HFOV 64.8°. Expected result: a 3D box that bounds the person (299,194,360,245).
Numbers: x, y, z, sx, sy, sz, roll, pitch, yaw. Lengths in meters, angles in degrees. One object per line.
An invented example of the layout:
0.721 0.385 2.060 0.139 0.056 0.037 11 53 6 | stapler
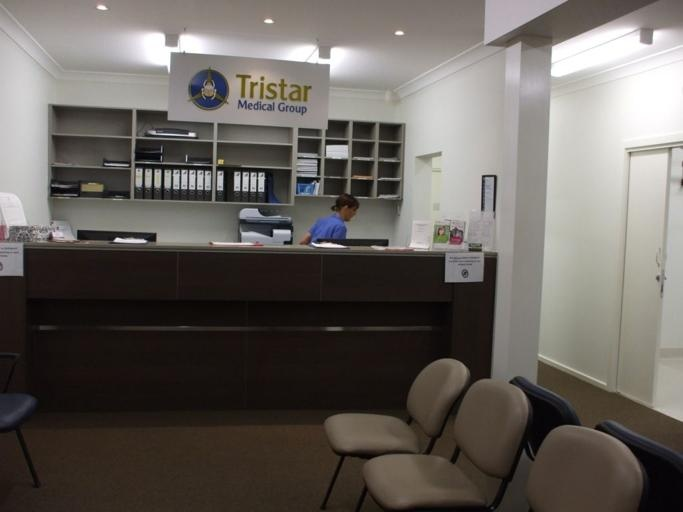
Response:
-0.111 -0.339 5.388 0.521 0.527 0.986 3 12 0 | person

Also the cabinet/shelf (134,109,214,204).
-2.213 -1.217 7.150 1.057 1.256 0.457 1 -5 -23 | cabinet/shelf

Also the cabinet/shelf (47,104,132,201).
-3.271 -1.349 7.019 0.938 1.171 0.310 -2 4 -22 | cabinet/shelf

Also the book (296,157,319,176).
-0.464 -1.229 7.366 0.343 0.264 0.208 0 10 -6 | book

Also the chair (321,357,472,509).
0.339 1.028 3.640 1.021 1.170 0.723 4 2 -14 | chair

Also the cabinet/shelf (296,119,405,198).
0.099 -1.338 7.624 1.455 1.129 0.336 1 2 -4 | cabinet/shelf

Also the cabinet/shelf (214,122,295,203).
-1.206 -1.252 7.225 1.009 1.061 0.339 0 0 -13 | cabinet/shelf

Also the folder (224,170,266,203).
-1.265 -0.953 7.226 0.583 0.444 0.293 1 12 -10 | folder

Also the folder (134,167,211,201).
-2.196 -0.947 7.002 0.982 0.410 0.145 1 11 -11 | folder

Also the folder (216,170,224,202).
-1.613 -0.929 7.126 0.096 0.384 0.054 0 12 -16 | folder
